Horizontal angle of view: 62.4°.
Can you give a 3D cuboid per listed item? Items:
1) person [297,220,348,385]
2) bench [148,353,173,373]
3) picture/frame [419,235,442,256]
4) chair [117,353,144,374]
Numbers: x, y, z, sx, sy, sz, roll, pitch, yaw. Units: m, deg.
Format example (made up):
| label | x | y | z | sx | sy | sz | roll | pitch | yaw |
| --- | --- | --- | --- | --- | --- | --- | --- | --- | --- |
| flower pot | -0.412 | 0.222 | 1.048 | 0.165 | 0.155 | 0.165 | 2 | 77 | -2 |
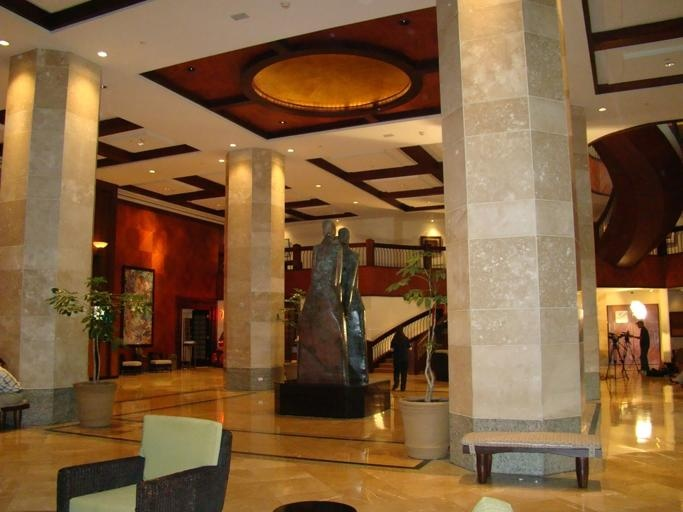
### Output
| label | x | y | z | sx | sy | sz | roll | pitch | yaw |
| --- | --- | --- | --- | --- | --- | --- | --- | --- | --- |
| person | -0.318 | 0.779 | 9.742 | 0.837 | 2.768 | 0.452 | -1 | -8 | 2 |
| bench | -5.946 | 3.560 | 18.830 | 0.586 | 0.716 | 0.752 | -16 | -20 | 40 |
| picture/frame | 3.148 | -0.404 | 19.972 | 0.855 | 0.921 | 0.072 | -3 | -34 | -24 |
| chair | -6.625 | 3.418 | 17.929 | 0.580 | 0.556 | 0.592 | -6 | -10 | 29 |
